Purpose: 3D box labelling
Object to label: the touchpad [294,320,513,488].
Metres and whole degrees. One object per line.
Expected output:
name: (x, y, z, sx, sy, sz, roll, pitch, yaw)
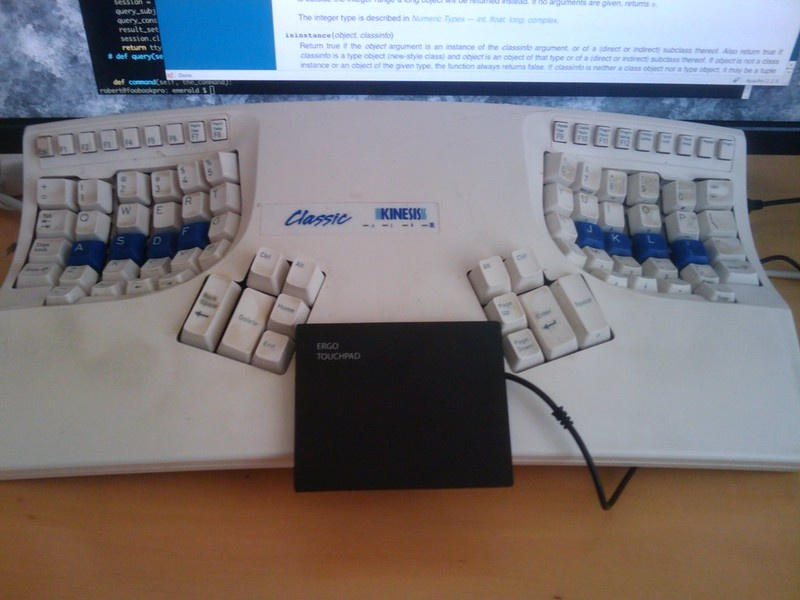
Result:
touchpad: (-0.005, 0.146, 0.805, 0.244, 0.059, 0.186, -1, 77, -1)
